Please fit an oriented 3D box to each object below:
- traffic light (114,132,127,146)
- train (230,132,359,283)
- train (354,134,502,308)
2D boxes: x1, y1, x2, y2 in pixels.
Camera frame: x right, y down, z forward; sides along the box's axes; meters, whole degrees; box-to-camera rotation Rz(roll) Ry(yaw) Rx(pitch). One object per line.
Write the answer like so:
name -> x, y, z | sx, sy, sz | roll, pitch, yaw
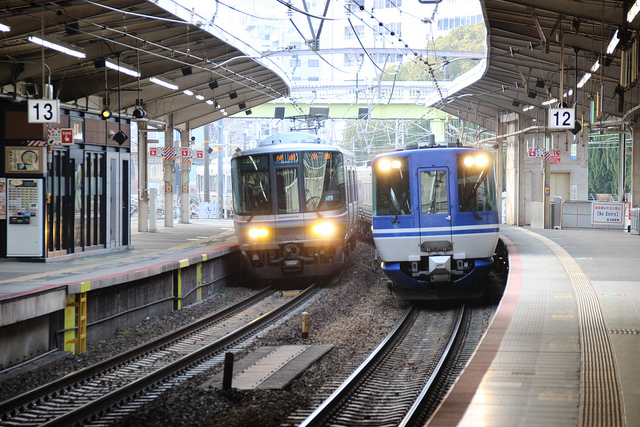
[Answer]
traffic light -> -7.312, -2.735, 20.544 | 0.303, 0.405, 0.392 | -2, 7, -9
train -> -0.927, -0.041, 18.209 | 3.538, 4.375, 1.170 | -2, 7, -10
train -> 2.968, 0.246, 13.574 | 1.901, 2.975, 7.345 | -2, 0, 7
